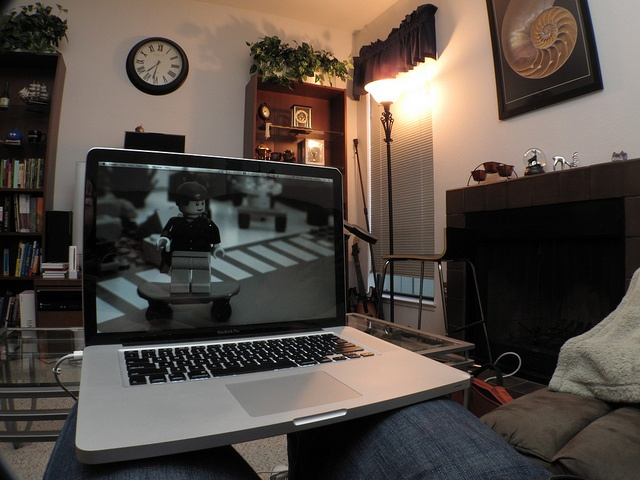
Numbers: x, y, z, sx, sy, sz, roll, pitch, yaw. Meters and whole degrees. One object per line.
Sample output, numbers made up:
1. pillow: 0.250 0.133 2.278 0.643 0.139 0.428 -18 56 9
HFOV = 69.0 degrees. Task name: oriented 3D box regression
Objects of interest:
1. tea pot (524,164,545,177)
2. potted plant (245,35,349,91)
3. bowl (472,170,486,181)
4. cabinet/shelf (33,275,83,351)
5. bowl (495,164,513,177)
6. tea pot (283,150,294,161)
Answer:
1. tea pot: 1.315 -0.428 2.852 0.106 0.070 0.099 -1 3 0
2. potted plant: -0.254 -1.669 4.397 0.896 0.362 0.583 3 -18 -19
3. bowl: 1.097 -0.444 3.209 0.079 0.063 0.074 -1 2 0
4. cabinet/shelf: -2.034 0.482 3.651 0.348 0.481 0.256 4 26 -24
5. bowl: 1.235 -0.468 3.138 0.079 0.046 0.096 -3 7 -17
6. tea pot: -0.319 -0.818 4.529 0.113 0.112 0.087 -2 10 -13
